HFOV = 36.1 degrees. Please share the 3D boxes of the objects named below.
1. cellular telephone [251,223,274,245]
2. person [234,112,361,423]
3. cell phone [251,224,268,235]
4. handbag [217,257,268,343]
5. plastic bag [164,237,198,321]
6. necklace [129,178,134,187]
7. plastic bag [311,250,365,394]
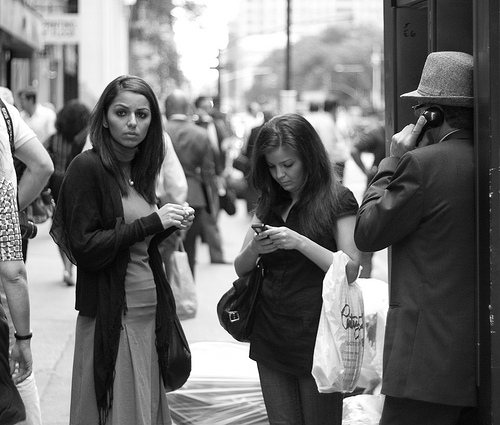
[{"bbox_3d":[0.063,0.103,3.640,0.081,0.167,0.018,-8,39,29],"label":"cellular telephone"},{"bbox_3d":[0.224,0.280,3.821,0.643,1.545,0.521,1,4,10],"label":"person"},{"bbox_3d":[0.045,0.077,3.638,0.050,0.054,0.128,-1,5,-13],"label":"cell phone"},{"bbox_3d":[-0.050,0.450,4.008,0.190,0.451,0.292,20,-13,-30],"label":"handbag"},{"bbox_3d":[-0.551,0.607,6.264,0.266,0.590,0.311,-1,4,-16],"label":"plastic bag"},{"bbox_3d":[-0.606,-0.158,3.913,0.019,0.027,0.038,-5,34,-18],"label":"necklace"},{"bbox_3d":[0.434,0.516,3.623,0.127,0.654,0.349,3,5,36],"label":"plastic bag"}]
